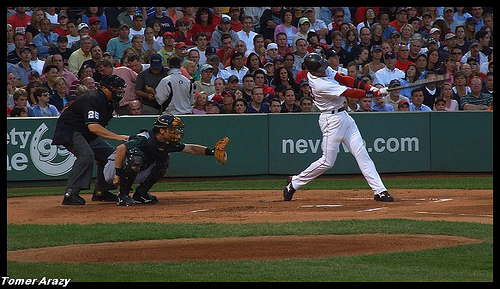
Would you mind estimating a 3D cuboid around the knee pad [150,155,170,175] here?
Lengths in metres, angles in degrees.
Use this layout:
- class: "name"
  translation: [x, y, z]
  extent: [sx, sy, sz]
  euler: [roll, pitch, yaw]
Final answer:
- class: "knee pad"
  translation: [-1.931, 0.425, 13.636]
  extent: [0.384, 0.441, 0.151]
  euler: [-1, 1, -18]

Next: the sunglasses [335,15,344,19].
- class: "sunglasses"
  translation: [2.971, -4.255, 21.139]
  extent: [0.240, 0.110, 0.084]
  euler: [-1, 1, -16]

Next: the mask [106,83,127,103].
- class: "mask"
  translation: [-2.873, -1.121, 13.626]
  extent: [0.388, 0.409, 0.275]
  euler: [-1, 1, -14]

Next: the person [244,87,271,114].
- class: "person"
  translation: [0.150, -1.178, 17.026]
  extent: [0.888, 0.557, 0.395]
  euler: [-2, 4, -13]

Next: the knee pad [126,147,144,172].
- class: "knee pad"
  translation: [-2.389, 0.293, 13.241]
  extent: [0.348, 0.512, 0.140]
  euler: [-1, 1, -13]

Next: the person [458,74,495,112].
- class: "person"
  translation: [6.338, -1.441, 17.804]
  extent: [1.014, 0.933, 0.643]
  euler: [-1, 1, -17]

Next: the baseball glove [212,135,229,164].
- class: "baseball glove"
  translation: [-0.642, 0.027, 13.840]
  extent: [0.281, 0.359, 0.538]
  euler: [-14, 32, 23]

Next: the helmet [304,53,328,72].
- class: "helmet"
  translation: [1.395, -1.752, 13.557]
  extent: [0.472, 0.326, 0.270]
  euler: [14, -13, 36]

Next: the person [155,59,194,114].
- class: "person"
  translation: [-1.908, -1.487, 16.249]
  extent: [0.975, 1.367, 0.483]
  euler: [-1, 1, -17]

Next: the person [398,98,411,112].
- class: "person"
  translation: [4.186, -1.097, 17.323]
  extent: [0.322, 0.403, 0.829]
  euler: [0, 1, 14]

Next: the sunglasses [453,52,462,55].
- class: "sunglasses"
  translation: [6.412, -2.845, 19.759]
  extent: [0.345, 0.095, 0.087]
  euler: [-1, 1, -25]
